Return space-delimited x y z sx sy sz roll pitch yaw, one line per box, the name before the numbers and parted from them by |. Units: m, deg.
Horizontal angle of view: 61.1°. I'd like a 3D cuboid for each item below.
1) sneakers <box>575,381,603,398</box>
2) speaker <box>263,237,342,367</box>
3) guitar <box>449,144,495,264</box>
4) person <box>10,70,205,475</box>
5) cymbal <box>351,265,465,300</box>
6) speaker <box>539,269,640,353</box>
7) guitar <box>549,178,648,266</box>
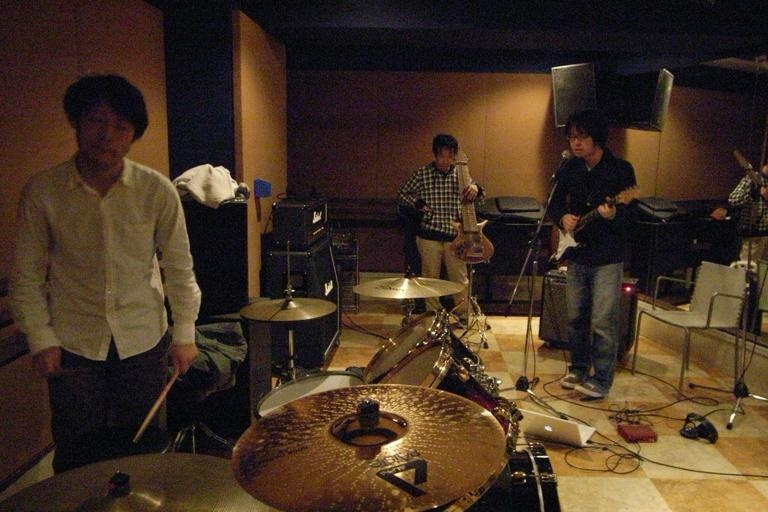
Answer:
sneakers | 1.702 1.107 5.403 0.204 0.084 0.114 22 16 18
speaker | -0.735 0.408 5.610 0.414 1.010 1.039 -2 11 1
guitar | 0.818 -0.484 6.383 0.470 1.296 0.166 -6 38 13
person | -1.434 0.062 3.342 0.919 1.969 0.505 -2 12 -16
cymbal | 0.195 0.231 4.737 0.461 0.103 0.447 -4 15 -19
speaker | 1.803 0.481 5.701 0.797 0.758 0.331 1 8 19
guitar | 1.654 -0.246 5.195 0.624 0.669 0.362 6 12 22
